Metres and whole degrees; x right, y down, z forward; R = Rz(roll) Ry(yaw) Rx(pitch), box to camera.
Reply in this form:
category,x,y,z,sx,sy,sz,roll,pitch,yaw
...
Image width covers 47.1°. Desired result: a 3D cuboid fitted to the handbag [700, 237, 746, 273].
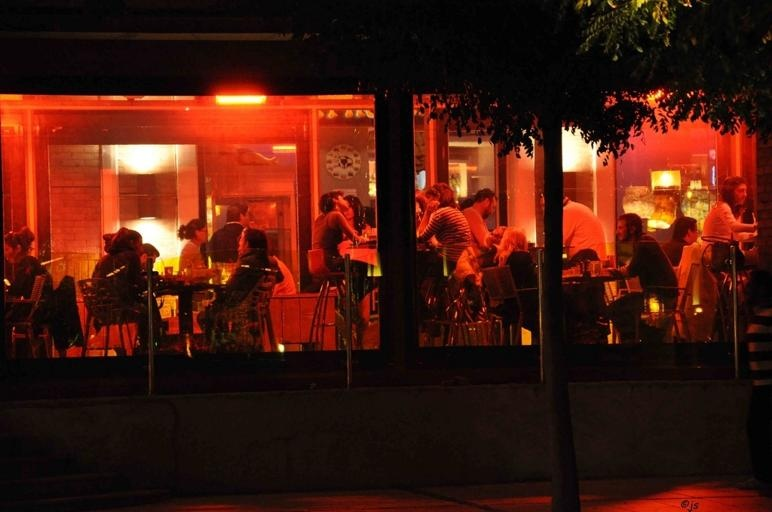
category,x,y,z,sx,sy,sz,roll,pitch,yaw
handbag,3.532,-0.020,9.229,0.387,0.388,1.288,-3,-4,20

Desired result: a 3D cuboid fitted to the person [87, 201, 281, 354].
category,x,y,z,sx,sy,sz,roll,pitch,yaw
person,-2.068,0.220,9.324,1.468,1.028,1.508,0,0,34

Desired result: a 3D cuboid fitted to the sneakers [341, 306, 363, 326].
category,x,y,z,sx,sy,sz,roll,pitch,yaw
sneakers,-0.351,0.611,9.116,0.149,0.152,0.282,-6,19,42
